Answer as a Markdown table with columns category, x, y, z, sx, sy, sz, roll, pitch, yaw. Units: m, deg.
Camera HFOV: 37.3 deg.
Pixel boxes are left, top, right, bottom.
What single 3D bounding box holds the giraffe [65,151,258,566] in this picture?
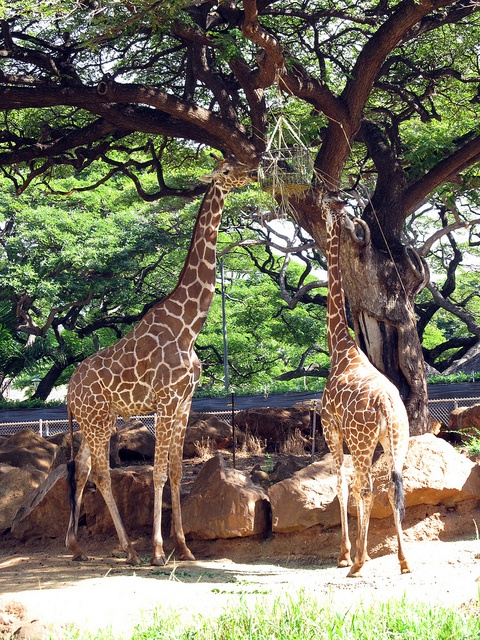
| category | x | y | z | sx | sy | sz | roll | pitch | yaw |
| --- | --- | --- | --- | --- | --- | --- | --- | --- | --- |
| giraffe | -0.942 | 0.511 | 8.625 | 2.137 | 4.424 | 0.986 | -7 | -1 | -19 |
